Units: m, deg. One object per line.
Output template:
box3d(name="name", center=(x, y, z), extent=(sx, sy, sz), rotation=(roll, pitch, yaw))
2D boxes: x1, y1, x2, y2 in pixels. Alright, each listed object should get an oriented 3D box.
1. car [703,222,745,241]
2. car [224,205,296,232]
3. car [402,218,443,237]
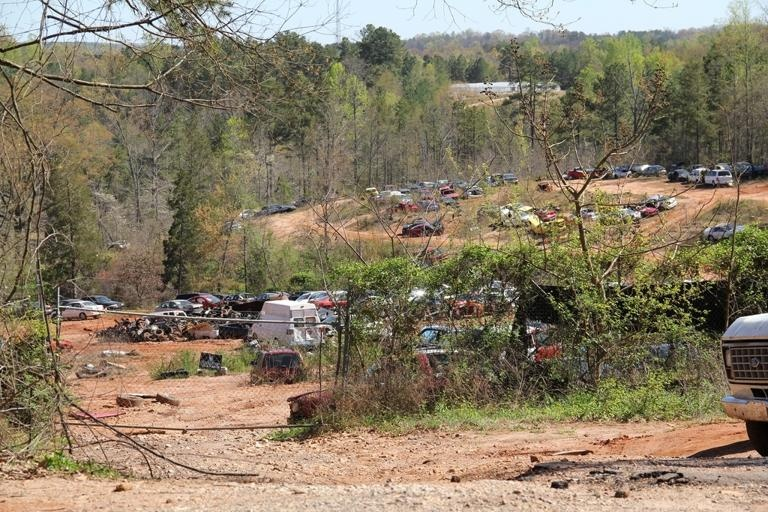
box3d(name="car", center=(18.588, -1.296, 72.822), extent=(2.127, 0.697, 1.335), rotation=(-3, 12, 43))
box3d(name="car", center=(-11.320, -3.593, 115.346), extent=(0.732, 1.722, 7.124), rotation=(21, 18, 30))
box3d(name="car", center=(2.671, -1.951, 92.148), extent=(2.500, 1.149, 1.786), rotation=(2, -4, -23))
